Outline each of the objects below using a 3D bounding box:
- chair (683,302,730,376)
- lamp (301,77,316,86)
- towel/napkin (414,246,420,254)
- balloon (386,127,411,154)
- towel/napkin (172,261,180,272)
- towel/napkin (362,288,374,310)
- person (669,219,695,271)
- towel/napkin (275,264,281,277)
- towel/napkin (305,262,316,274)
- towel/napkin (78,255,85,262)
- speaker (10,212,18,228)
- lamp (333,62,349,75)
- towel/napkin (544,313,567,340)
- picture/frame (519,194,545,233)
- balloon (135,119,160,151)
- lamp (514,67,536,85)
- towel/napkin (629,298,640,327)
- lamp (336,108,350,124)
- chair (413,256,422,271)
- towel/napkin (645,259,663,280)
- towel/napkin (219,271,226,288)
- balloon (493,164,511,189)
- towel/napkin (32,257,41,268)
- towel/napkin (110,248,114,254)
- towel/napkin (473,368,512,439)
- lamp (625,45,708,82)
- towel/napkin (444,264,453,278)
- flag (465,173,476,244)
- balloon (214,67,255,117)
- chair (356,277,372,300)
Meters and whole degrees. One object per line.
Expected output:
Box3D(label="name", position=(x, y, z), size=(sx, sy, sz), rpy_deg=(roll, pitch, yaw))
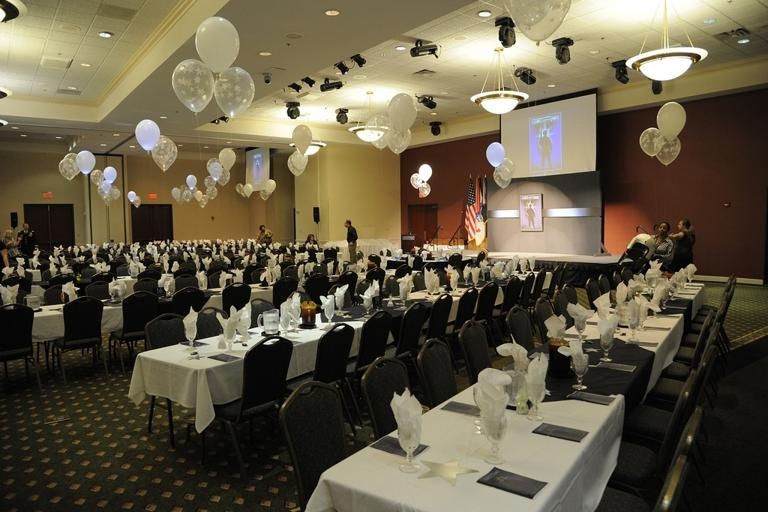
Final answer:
Box3D(label="chair", position=(4.375, 1.147, 7.110), size=(0.289, 0.403, 0.933), rpy_deg=(-2, 18, 35))
Box3D(label="lamp", position=(-1.972, -4.490, 13.412), size=(0.237, 0.227, 0.621), rpy_deg=(12, 9, -27))
Box3D(label="towel/napkin", position=(1.123, -0.209, 17.643), size=(0.208, 0.291, 0.282), rpy_deg=(-1, -30, 5))
Box3D(label="balloon", position=(0.364, -2.867, 13.024), size=(0.579, 0.736, 0.617), rpy_deg=(5, -6, -23))
Box3D(label="towel/napkin", position=(-4.838, 0.252, 12.081), size=(0.166, 0.230, 0.231), rpy_deg=(2, -13, -15))
Box3D(label="towel/napkin", position=(-0.223, 0.622, 7.754), size=(0.278, 0.322, 0.214), rpy_deg=(1, 0, 7))
Box3D(label="person", position=(7.338, -0.273, 12.839), size=(0.454, 1.234, 1.539), rpy_deg=(2, 4, 30))
Box3D(label="towel/napkin", position=(-2.151, 0.316, 10.566), size=(0.167, 0.350, 0.188), rpy_deg=(0, 3, -9))
Box3D(label="towel/napkin", position=(-1.615, 0.263, 11.420), size=(0.202, 0.223, 0.219), rpy_deg=(3, -4, 5))
Box3D(label="towel/napkin", position=(-8.170, 0.077, 14.084), size=(0.088, 0.110, 0.156), rpy_deg=(-42, -20, 22))
Box3D(label="speaker", position=(-15.471, -1.501, 21.793), size=(0.250, 0.661, 0.332), rpy_deg=(-3, 5, -37))
Box3D(label="lamp", position=(-0.936, -4.429, 12.268), size=(0.362, 0.181, 0.389), rpy_deg=(-1, 14, 24))
Box3D(label="towel/napkin", position=(1.820, 0.767, 5.560), size=(0.221, 0.265, 0.234), rpy_deg=(-2, -6, 18))
Box3D(label="picture/frame", position=(4.909, -1.440, 17.237), size=(0.164, 1.842, 1.154), rpy_deg=(3, -3, -36))
Box3D(label="balloon", position=(-5.466, -2.842, 12.078), size=(0.432, 0.736, 0.724), rpy_deg=(-2, 4, -20))
Box3D(label="lamp", position=(3.644, -4.723, 13.502), size=(0.450, 0.382, 0.624), rpy_deg=(0, 4, 15))
Box3D(label="towel/napkin", position=(3.041, 0.694, 6.419), size=(0.152, 0.302, 0.160), rpy_deg=(7, 7, 23))
Box3D(label="lamp", position=(-1.411, -4.689, 17.440), size=(0.381, 0.566, 0.174), rpy_deg=(-1, 2, -11))
Box3D(label="chair", position=(0.855, 0.169, 13.162), size=(0.259, 0.270, 0.825), rpy_deg=(0, 4, 7))
Box3D(label="towel/napkin", position=(4.863, 0.243, 9.385), size=(0.187, 0.273, 0.962), rpy_deg=(2, 4, 31))
Box3D(label="towel/napkin", position=(-2.999, 0.420, 9.597), size=(0.055, 0.297, 0.151), rpy_deg=(7, -5, 32))
Box3D(label="balloon", position=(3.655, -2.493, 16.202), size=(0.534, 0.777, 0.549), rpy_deg=(3, 11, 40))
Box3D(label="towel/napkin", position=(-8.973, 0.162, 13.437), size=(0.218, 0.350, 0.119), rpy_deg=(-3, 15, 34))
Box3D(label="towel/napkin", position=(-9.105, -0.165, 17.430), size=(0.218, 0.246, 0.118), rpy_deg=(-3, -2, 44))
Box3D(label="towel/napkin", position=(0.931, 1.291, 4.486), size=(0.276, 0.593, 0.471), rpy_deg=(0, 4, 14))
Box3D(label="lamp", position=(4.536, -3.150, 8.426), size=(1.080, 0.430, 0.627), rpy_deg=(1, 4, 23))
Box3D(label="towel/napkin", position=(1.248, 0.268, 9.835), size=(0.161, 0.213, 0.158), rpy_deg=(19, -18, -34))
Box3D(label="flag", position=(3.133, -1.693, 18.825), size=(0.333, 2.387, 1.710), rpy_deg=(0, 4, 10))
Box3D(label="balloon", position=(-2.578, -2.806, 8.953), size=(0.704, 0.909, 0.735), rpy_deg=(2, -1, -28))
Box3D(label="chair", position=(-0.322, 0.548, 8.989), size=(0.200, 0.377, 0.240), rpy_deg=(3, 2, -29))
